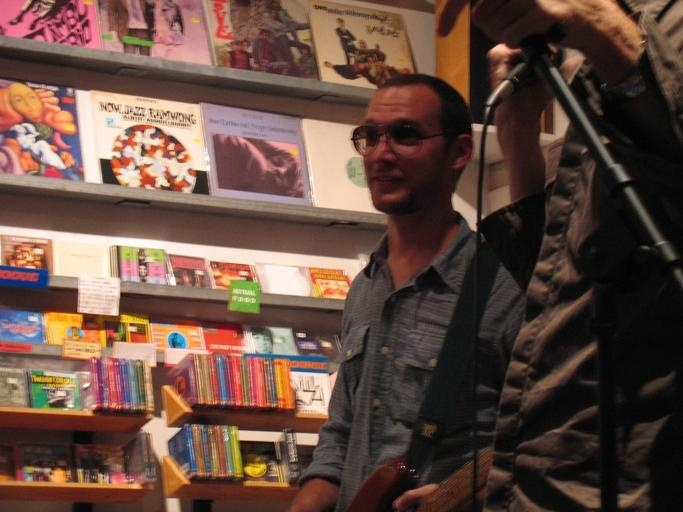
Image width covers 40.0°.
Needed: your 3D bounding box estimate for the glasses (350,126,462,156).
[{"bbox_3d":[0.130,-0.292,2.321,0.138,0.039,0.141,-1,-4,31],"label":"glasses"}]
